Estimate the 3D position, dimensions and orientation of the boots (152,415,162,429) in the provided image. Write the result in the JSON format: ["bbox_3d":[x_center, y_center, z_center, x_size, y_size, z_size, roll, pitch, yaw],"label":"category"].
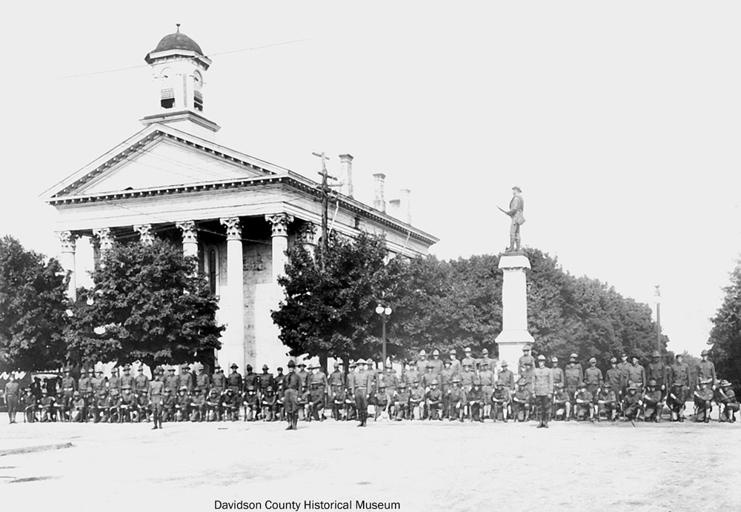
[{"bbox_3d":[-9.075,6.935,52.878,0.500,0.533,0.569,-3,-11,8],"label":"boots"}]

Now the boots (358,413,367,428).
[{"bbox_3d":[-0.278,6.660,51.429,0.478,0.496,0.450,-1,-13,9],"label":"boots"}]
